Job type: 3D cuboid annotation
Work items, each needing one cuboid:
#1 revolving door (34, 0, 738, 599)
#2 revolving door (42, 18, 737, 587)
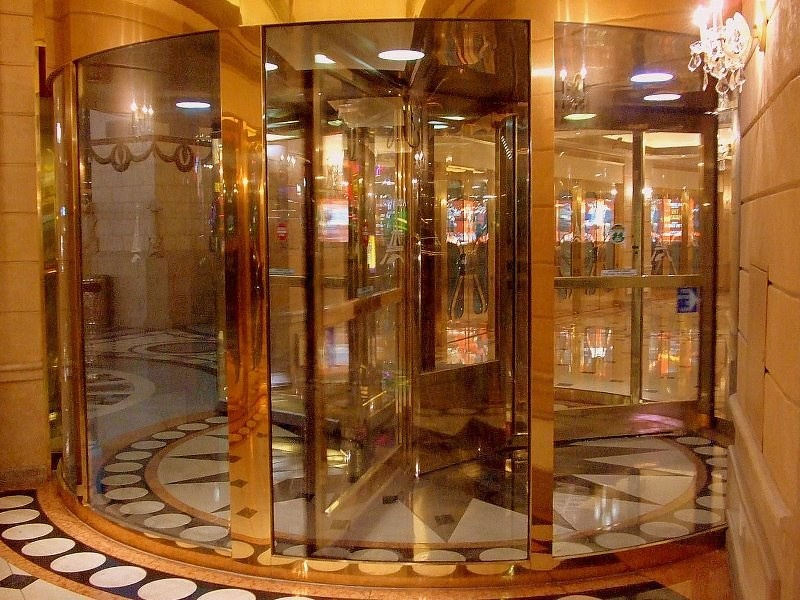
[{"bbox_3d":[-0.056,0.110,3.954,2.819,1.866,2.804,-1,8,-10],"label":"revolving door"},{"bbox_3d":[0.201,0.043,4.020,2.704,1.769,2.784,2,4,10],"label":"revolving door"}]
